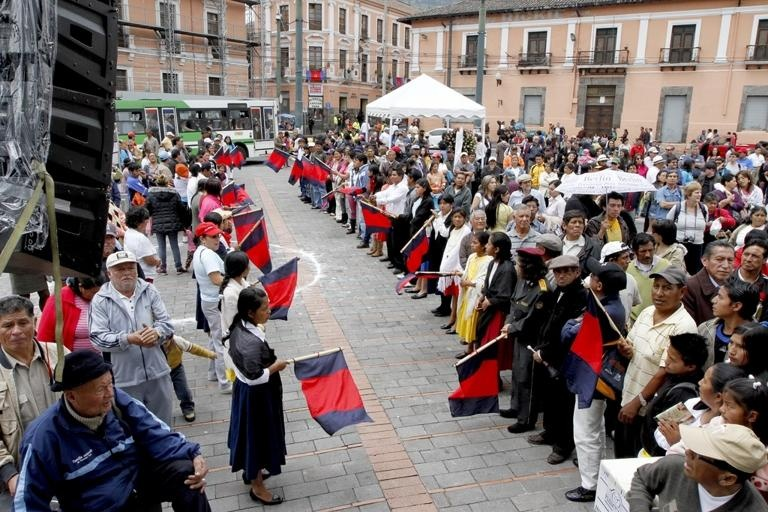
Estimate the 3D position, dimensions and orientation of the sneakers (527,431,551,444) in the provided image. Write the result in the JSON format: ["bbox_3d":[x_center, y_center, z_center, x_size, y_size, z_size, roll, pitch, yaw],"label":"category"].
[{"bbox_3d":[1.995,2.335,8.018,0.278,0.114,0.129,4,11,6],"label":"sneakers"}]

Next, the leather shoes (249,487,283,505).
[{"bbox_3d":[-1.280,2.740,7.053,0.404,0.175,0.143,2,9,1],"label":"leather shoes"}]

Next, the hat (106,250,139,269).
[{"bbox_3d":[-2.930,0.049,7.040,0.277,0.193,0.235,0,12,-18],"label":"hat"}]

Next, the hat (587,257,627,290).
[{"bbox_3d":[2.493,0.211,7.038,0.251,0.382,0.218,-31,-12,-25],"label":"hat"}]

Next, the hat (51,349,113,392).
[{"bbox_3d":[-2.492,0.939,5.208,0.422,0.199,0.311,-11,14,-19],"label":"hat"}]

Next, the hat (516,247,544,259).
[{"bbox_3d":[1.959,-0.055,8.217,0.277,0.099,0.432,10,13,28],"label":"hat"}]

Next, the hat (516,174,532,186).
[{"bbox_3d":[2.813,-1.507,12.732,0.263,0.116,0.347,-20,17,-15],"label":"hat"}]

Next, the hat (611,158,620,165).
[{"bbox_3d":[6.163,-2.504,16.678,0.201,0.119,0.319,8,13,34],"label":"hat"}]

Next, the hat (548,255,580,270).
[{"bbox_3d":[2.093,0.087,7.271,0.314,0.180,0.248,5,12,6],"label":"hat"}]

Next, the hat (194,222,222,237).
[{"bbox_3d":[-2.479,-0.365,8.886,0.282,0.144,0.209,-1,10,-17],"label":"hat"}]

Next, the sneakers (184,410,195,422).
[{"bbox_3d":[-2.573,2.144,8.361,0.154,0.125,0.147,0,12,-17],"label":"sneakers"}]

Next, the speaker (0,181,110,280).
[{"bbox_3d":[-2.622,-0.187,5.035,0.388,0.803,0.732,10,13,32],"label":"speaker"}]

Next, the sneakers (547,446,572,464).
[{"bbox_3d":[2.132,2.451,7.693,0.381,0.154,0.133,-4,-3,-31],"label":"sneakers"}]

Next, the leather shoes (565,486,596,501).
[{"bbox_3d":[2.190,2.681,7.033,0.359,0.146,0.147,1,53,9],"label":"leather shoes"}]

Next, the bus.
[{"bbox_3d":[-9.077,-6.303,30.469,10.181,3.472,2.787,-13,20,-41],"label":"bus"}]

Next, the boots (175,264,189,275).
[{"bbox_3d":[-4.476,0.312,14.004,0.102,0.135,0.309,6,12,14],"label":"boots"}]

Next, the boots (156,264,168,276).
[{"bbox_3d":[-4.626,0.309,13.103,0.163,0.203,0.454,3,17,-13],"label":"boots"}]

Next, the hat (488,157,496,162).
[{"bbox_3d":[2.856,-2.522,16.343,0.197,0.098,0.294,0,6,6],"label":"hat"}]

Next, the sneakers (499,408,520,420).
[{"bbox_3d":[1.718,2.169,8.591,0.290,0.128,0.101,6,13,17],"label":"sneakers"}]

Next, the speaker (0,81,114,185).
[{"bbox_3d":[-2.524,-1.077,5.332,0.531,0.669,0.654,7,13,-15],"label":"speaker"}]

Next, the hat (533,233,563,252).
[{"bbox_3d":[2.186,-0.164,8.251,0.312,0.198,0.374,8,12,20],"label":"hat"}]

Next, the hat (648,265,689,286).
[{"bbox_3d":[2.977,0.217,6.494,0.286,0.151,0.200,24,-10,-24],"label":"hat"}]
